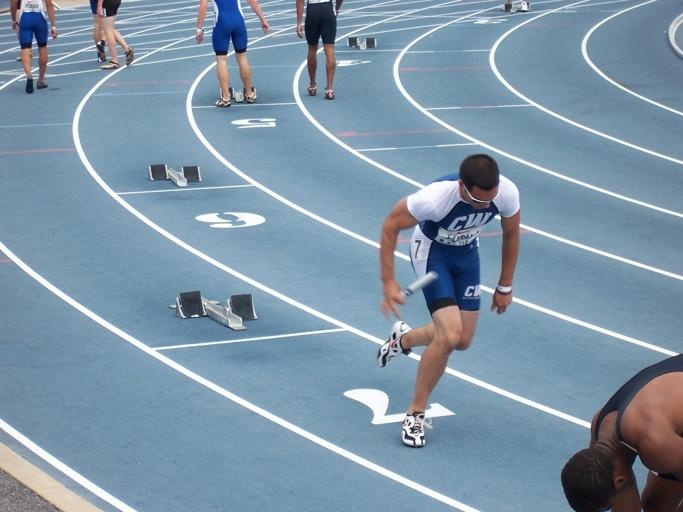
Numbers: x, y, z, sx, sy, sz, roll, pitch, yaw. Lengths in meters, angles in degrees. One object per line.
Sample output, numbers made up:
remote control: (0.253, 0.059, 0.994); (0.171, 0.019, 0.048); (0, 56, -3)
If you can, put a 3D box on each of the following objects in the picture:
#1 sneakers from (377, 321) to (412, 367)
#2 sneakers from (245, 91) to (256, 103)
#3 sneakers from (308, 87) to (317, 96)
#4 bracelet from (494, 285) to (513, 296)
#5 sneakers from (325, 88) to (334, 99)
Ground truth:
sneakers: (0.478, 0.850, 10.410); (0.294, 0.581, 0.198); (21, 44, -8)
sneakers: (-1.607, -2.686, 18.206); (0.123, 0.094, 0.239); (-2, 19, 1)
sneakers: (-0.554, -2.881, 18.633); (0.138, 0.167, 0.156); (7, 67, -4)
bracelet: (1.504, 0.316, 10.036); (0.101, 0.063, 0.095); (8, 20, 21)
sneakers: (-0.263, -2.784, 18.390); (0.181, 0.143, 0.372); (-1, 17, -1)
